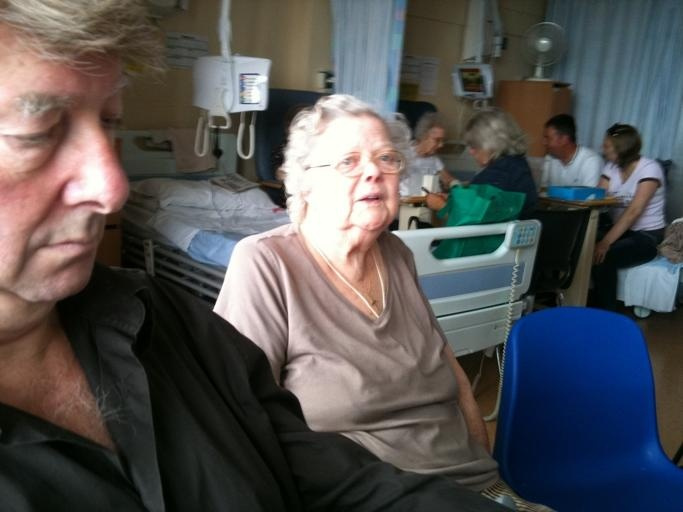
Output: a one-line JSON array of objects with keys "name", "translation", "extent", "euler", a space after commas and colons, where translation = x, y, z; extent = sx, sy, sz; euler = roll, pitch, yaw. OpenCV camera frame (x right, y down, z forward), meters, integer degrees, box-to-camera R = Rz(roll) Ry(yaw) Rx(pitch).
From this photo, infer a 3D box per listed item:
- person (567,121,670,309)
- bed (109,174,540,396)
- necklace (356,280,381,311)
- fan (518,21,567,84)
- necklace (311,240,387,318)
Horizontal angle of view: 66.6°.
[{"name": "person", "translation": [2.539, -0.266, 4.793], "extent": [0.924, 1.814, 0.651], "euler": [-6, 15, 11]}, {"name": "bed", "translation": [-0.356, -0.096, 3.126], "extent": [1.312, 0.991, 2.372], "euler": [-7, 15, -35]}, {"name": "necklace", "translation": [0.077, 0.124, 1.475], "extent": [0.043, 0.029, 0.046], "euler": [42, 10, 20]}, {"name": "fan", "translation": [2.163, -2.200, 5.589], "extent": [0.456, 0.597, 0.323], "euler": [5, 27, 16]}, {"name": "necklace", "translation": [0.007, 0.078, 1.534], "extent": [0.164, 0.037, 0.241], "euler": [4, 51, -54]}]
